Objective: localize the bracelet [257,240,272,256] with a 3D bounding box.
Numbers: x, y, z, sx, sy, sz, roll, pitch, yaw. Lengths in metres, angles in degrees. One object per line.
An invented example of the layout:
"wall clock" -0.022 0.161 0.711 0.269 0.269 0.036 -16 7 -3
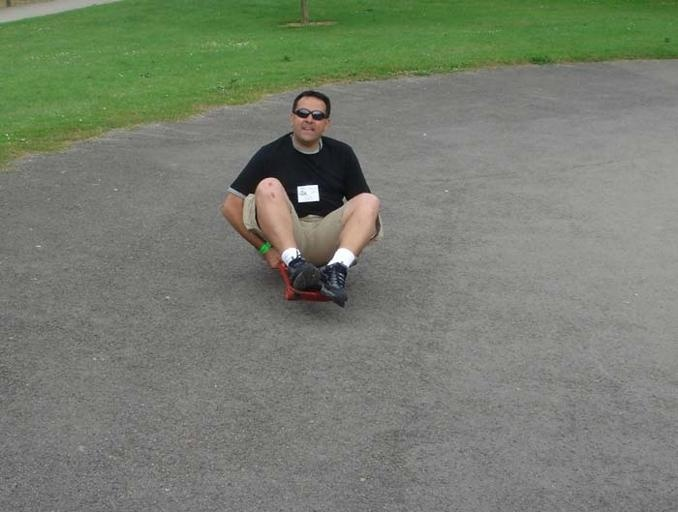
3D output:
"bracelet" -0.530 -0.059 5.170 0.093 0.095 0.070 -29 90 -36

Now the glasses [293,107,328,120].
"glasses" -0.189 -0.971 4.951 0.224 0.091 0.097 -5 41 -5

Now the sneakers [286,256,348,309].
"sneakers" -0.126 0.158 4.662 0.202 0.232 0.554 -5 4 -44
